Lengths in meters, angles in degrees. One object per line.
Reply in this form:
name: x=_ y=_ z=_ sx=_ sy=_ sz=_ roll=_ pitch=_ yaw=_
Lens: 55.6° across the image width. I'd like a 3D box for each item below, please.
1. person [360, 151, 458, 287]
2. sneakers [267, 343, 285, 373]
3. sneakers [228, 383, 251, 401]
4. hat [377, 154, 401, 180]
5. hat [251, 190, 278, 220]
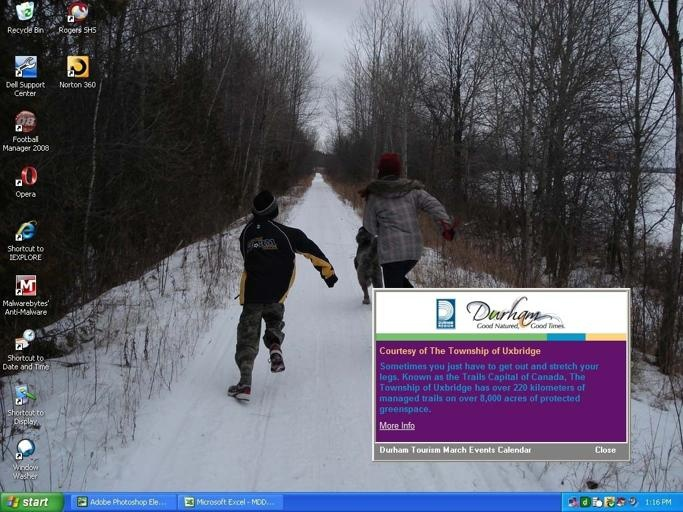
person: x=0.914 y=-0.525 z=9.852 sx=1.253 sy=2.082 sz=0.605 roll=0 pitch=4 yaw=8
sneakers: x=-0.907 y=1.444 z=9.020 sx=0.174 sy=0.432 sz=0.271 roll=-1 pitch=5 yaw=-13
sneakers: x=-1.399 y=1.833 z=8.782 sx=0.153 sy=0.233 sz=0.391 roll=1 pitch=8 yaw=-37
hat: x=0.744 y=-1.442 z=10.110 sx=0.268 sy=0.425 sz=0.406 roll=7 pitch=17 yaw=14
hat: x=-1.104 y=-0.699 z=9.285 sx=0.275 sy=0.352 sz=0.418 roll=-4 pitch=22 yaw=5
